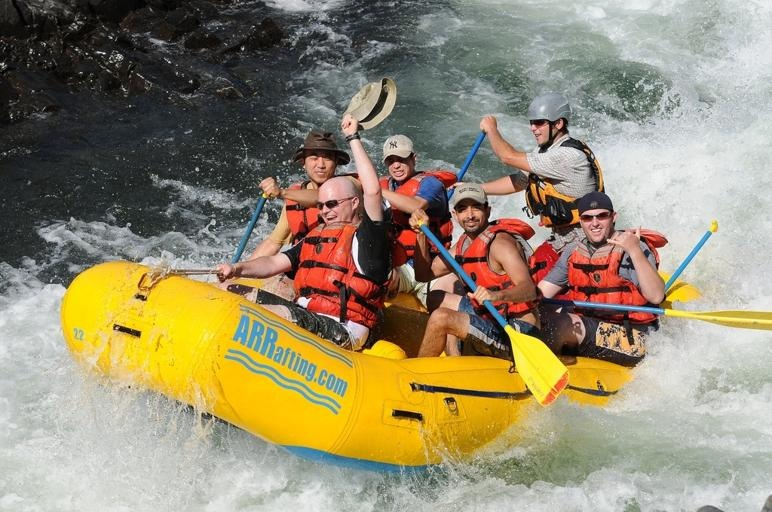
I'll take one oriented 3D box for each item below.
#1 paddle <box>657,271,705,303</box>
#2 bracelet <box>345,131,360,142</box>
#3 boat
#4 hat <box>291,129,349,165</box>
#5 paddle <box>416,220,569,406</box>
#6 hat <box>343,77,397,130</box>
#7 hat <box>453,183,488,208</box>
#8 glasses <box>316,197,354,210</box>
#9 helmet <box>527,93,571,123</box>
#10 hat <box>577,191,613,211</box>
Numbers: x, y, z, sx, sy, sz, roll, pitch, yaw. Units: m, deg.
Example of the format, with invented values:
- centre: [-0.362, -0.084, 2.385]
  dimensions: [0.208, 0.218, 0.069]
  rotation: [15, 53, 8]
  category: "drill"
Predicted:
- centre: [3.445, 0.404, 9.034]
  dimensions: [0.403, 0.122, 0.392]
  rotation: [-10, 40, -10]
  category: "paddle"
- centre: [-0.367, -1.221, 8.066]
  dimensions: [0.158, 0.182, 0.094]
  rotation: [-12, 97, -39]
  category: "bracelet"
- centre: [-0.406, 1.426, 9.775]
  dimensions: [3.492, 6.193, 1.369]
  rotation: [14, 90, 43]
  category: "boat"
- centre: [-0.710, -1.273, 8.881]
  dimensions: [0.508, 0.602, 0.249]
  rotation: [1, 85, -2]
  category: "hat"
- centre: [1.120, 0.677, 8.339]
  dimensions: [0.468, 0.106, 2.536]
  rotation: [-43, 73, 7]
  category: "paddle"
- centre: [-0.110, -1.694, 8.786]
  dimensions: [0.200, 0.663, 0.506]
  rotation: [34, 72, -20]
  category: "hat"
- centre: [0.879, -0.673, 8.310]
  dimensions: [0.355, 0.349, 0.362]
  rotation: [0, 65, -1]
  category: "hat"
- centre: [-0.533, -0.548, 8.107]
  dimensions: [0.189, 0.181, 0.051]
  rotation: [-17, 93, -49]
  category: "glasses"
- centre: [2.011, -1.810, 9.477]
  dimensions: [0.336, 0.441, 0.361]
  rotation: [3, 110, 16]
  category: "helmet"
- centre: [2.303, -0.585, 8.574]
  dimensions: [0.355, 0.222, 0.265]
  rotation: [-4, 65, -3]
  category: "hat"
